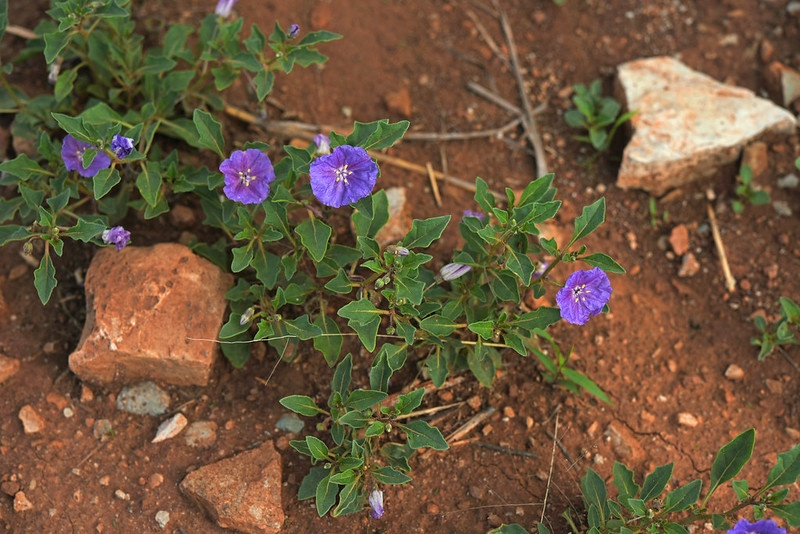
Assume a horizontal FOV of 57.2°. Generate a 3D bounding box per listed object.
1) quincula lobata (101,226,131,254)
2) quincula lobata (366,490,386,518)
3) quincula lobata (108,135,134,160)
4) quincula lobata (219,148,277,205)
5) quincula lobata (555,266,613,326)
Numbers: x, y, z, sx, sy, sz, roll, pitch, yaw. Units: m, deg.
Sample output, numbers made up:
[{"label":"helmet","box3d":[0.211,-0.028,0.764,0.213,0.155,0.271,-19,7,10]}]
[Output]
[{"label":"quincula lobata","box3d":[-2.106,-0.212,5.424,0.164,0.186,0.074,-2,19,-19]},{"label":"quincula lobata","box3d":[-0.168,1.741,5.338,0.129,0.092,0.235,-9,94,7]},{"label":"quincula lobata","box3d":[-2.032,-0.879,5.339,0.165,0.150,0.119,-9,60,-10]},{"label":"quincula lobata","box3d":[-1.151,-0.736,5.425,0.421,0.513,0.170,-4,82,2]},{"label":"quincula lobata","box3d":[1.314,0.188,5.401,0.371,0.426,0.148,-30,24,1]}]
